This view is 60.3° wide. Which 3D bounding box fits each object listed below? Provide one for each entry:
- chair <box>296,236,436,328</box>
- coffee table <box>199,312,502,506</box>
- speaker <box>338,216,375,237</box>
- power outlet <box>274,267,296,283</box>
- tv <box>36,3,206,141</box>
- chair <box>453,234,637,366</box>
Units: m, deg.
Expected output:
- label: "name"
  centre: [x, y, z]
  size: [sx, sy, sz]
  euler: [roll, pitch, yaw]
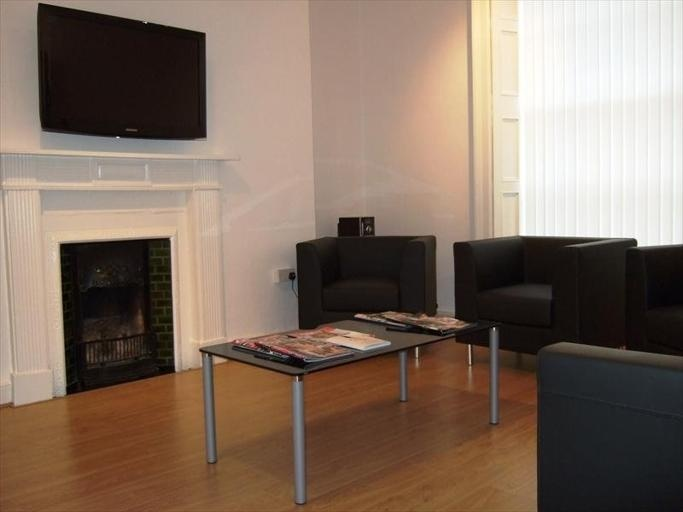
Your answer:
- label: "chair"
  centre: [0.223, 0.204, 4.708]
  size: [1.039, 0.865, 0.773]
  euler: [0, 0, 12]
- label: "coffee table"
  centre: [0.065, 0.719, 3.253]
  size: [1.617, 0.444, 0.906]
  euler: [-6, 4, -31]
- label: "speaker"
  centre: [0.135, -0.267, 5.306]
  size: [0.325, 0.178, 0.162]
  euler: [-5, 3, -2]
- label: "power outlet"
  centre: [-0.485, 0.165, 5.059]
  size: [0.068, 0.137, 0.226]
  euler: [-1, 4, 44]
- label: "tv"
  centre: [-1.561, -1.269, 4.052]
  size: [1.079, 0.752, 0.111]
  euler: [-3, 3, -41]
- label: "chair"
  centre: [1.521, 0.284, 4.368]
  size: [1.112, 1.014, 1.056]
  euler: [1, 3, 41]
